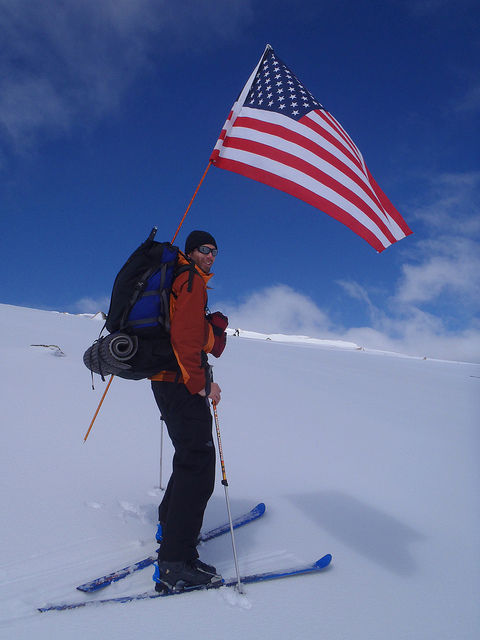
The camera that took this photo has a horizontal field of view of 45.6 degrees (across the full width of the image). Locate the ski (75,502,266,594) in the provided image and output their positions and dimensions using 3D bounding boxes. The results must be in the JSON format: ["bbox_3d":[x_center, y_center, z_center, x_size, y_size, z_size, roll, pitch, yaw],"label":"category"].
[{"bbox_3d":[-0.604,1.921,4.748,1.634,0.141,0.169,-20,7,-16],"label":"ski"}]

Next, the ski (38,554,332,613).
[{"bbox_3d":[-0.318,2.097,4.671,2.148,0.207,0.105,-12,-21,9],"label":"ski"}]

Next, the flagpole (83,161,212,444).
[{"bbox_3d":[-0.764,0.304,5.026,0.134,3.391,0.080,18,-7,6],"label":"flagpole"}]

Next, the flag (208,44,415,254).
[{"bbox_3d":[0.554,-1.664,5.652,2.046,2.145,0.172,27,-15,-8],"label":"flag"}]
